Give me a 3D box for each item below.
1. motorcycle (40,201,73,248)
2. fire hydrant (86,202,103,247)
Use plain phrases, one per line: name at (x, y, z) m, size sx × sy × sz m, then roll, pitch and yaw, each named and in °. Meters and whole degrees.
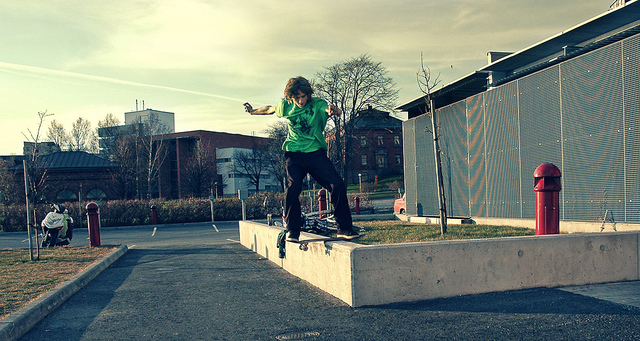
motorcycle at (-11.427, 2.307, 30.640) m, size 1.077 × 2.024 × 1.242 m, roll -1°, pitch -1°, yaw -4°
fire hydrant at (-9.595, 2.227, 29.671) m, size 0.491 × 1.854 × 1.181 m, roll -2°, pitch -3°, yaw -20°
